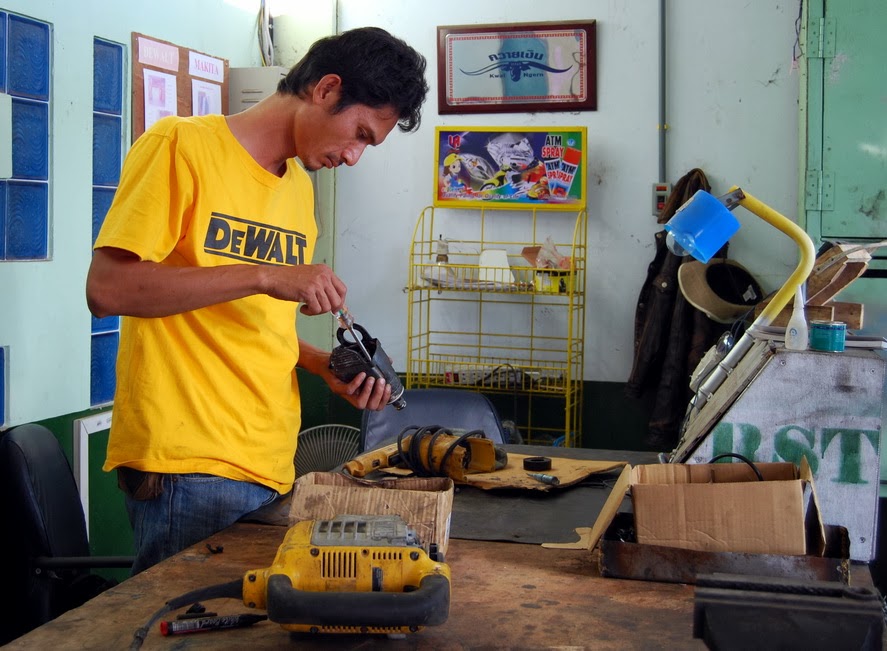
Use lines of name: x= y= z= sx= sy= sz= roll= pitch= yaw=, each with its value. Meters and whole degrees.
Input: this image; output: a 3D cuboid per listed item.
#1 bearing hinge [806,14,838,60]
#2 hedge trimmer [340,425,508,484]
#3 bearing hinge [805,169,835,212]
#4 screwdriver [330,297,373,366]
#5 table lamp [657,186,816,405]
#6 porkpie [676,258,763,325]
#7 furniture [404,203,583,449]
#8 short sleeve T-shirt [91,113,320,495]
bearing hinge: x=1.556 y=-1.181 z=3.345 sx=0.096 sy=0.160 sz=0.120 roll=-29 pitch=33 yaw=-27
hedge trimmer: x=-0.044 y=0.362 z=2.294 sx=0.308 sy=0.122 sz=0.198 roll=-4 pitch=0 yaw=-1
bearing hinge: x=1.577 y=-0.565 z=3.444 sx=0.120 sy=0.159 sz=0.096 roll=3 pitch=10 yaw=29
screwdriver: x=-0.213 y=0.027 z=1.981 sx=0.053 sy=0.187 sz=0.053 roll=-23 pitch=22 yaw=18
table lamp: x=0.697 y=-0.044 z=1.980 sx=0.381 sy=0.563 sz=0.248 roll=0 pitch=12 yaw=-4
porkpie: x=1.202 y=-0.143 z=3.630 sx=0.384 sy=0.269 sz=0.116 roll=21 pitch=-43 yaw=-14
furniture: x=0.275 y=0.049 z=4.021 sx=0.806 sy=1.363 sz=0.380 roll=3 pitch=5 yaw=8
short sleeve T-shirt: x=-0.544 y=-0.029 z=1.966 sx=0.540 sy=0.925 sz=0.327 roll=-4 pitch=12 yaw=-21
